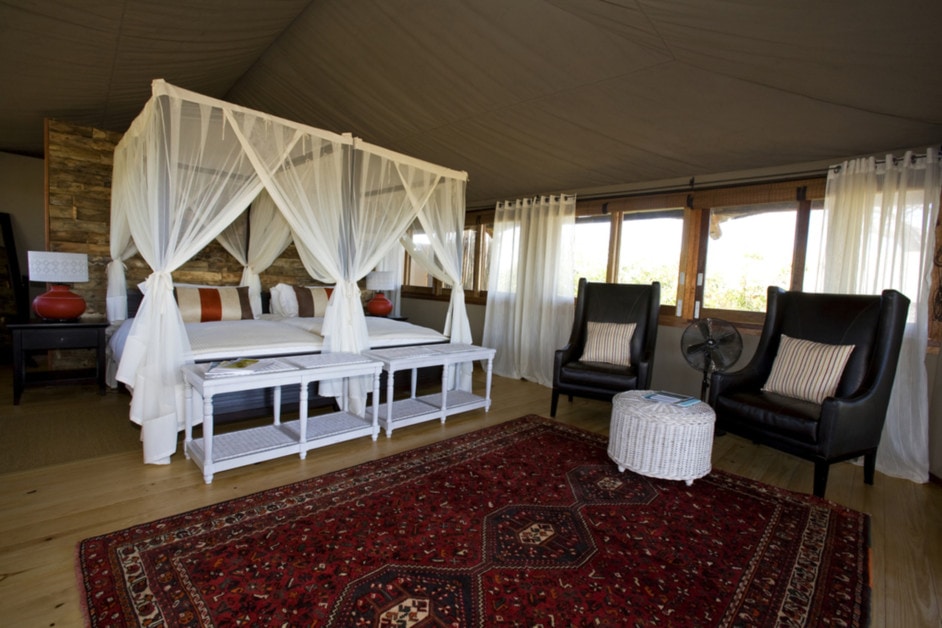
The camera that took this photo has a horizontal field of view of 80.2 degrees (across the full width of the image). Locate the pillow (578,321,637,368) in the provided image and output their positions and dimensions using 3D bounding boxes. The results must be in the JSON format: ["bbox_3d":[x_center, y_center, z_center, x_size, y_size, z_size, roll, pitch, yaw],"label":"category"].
[{"bbox_3d":[1.427,0.301,5.807,0.537,0.398,0.293,3,8,16],"label":"pillow"}]

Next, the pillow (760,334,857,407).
[{"bbox_3d":[2.871,0.477,4.771,0.162,0.526,0.578,22,-1,-28],"label":"pillow"}]

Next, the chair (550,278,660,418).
[{"bbox_3d":[1.394,0.350,5.762,0.908,1.208,0.789,8,13,35],"label":"chair"}]

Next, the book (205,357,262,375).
[{"bbox_3d":[-1.850,0.409,4.362,0.377,0.061,0.355,-3,8,-24],"label":"book"}]

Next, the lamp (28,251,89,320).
[{"bbox_3d":[-4.100,-0.288,5.593,0.511,0.681,0.476,3,6,15],"label":"lamp"}]

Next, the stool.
[{"bbox_3d":[1.487,0.980,4.427,0.734,0.507,0.705,1,10,-1],"label":"stool"}]

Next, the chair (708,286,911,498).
[{"bbox_3d":[2.886,0.532,4.813,1.188,1.384,1.185,-4,9,-34],"label":"chair"}]
